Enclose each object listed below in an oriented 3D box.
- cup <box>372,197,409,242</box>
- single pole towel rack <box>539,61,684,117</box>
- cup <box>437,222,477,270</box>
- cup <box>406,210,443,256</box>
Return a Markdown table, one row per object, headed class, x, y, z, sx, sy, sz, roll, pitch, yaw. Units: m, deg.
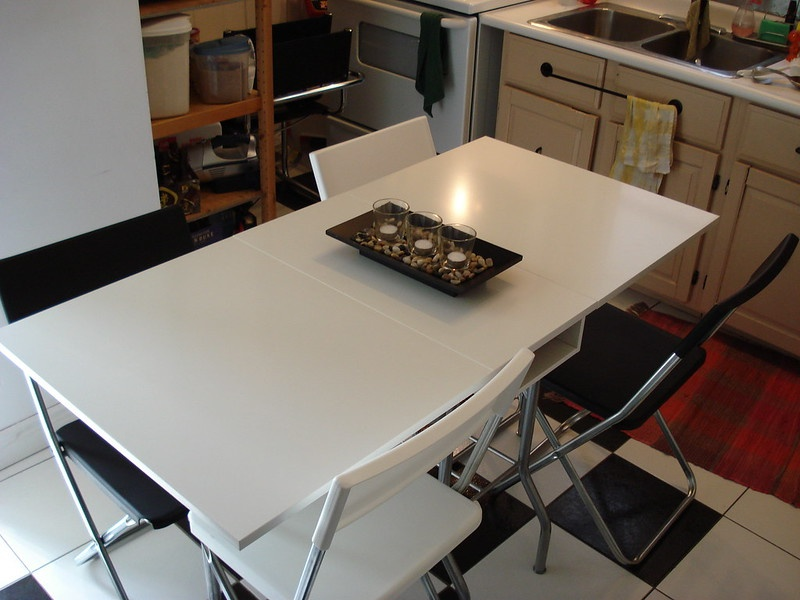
| class | x | y | z | sx | sy | sz | roll | pitch | yaw |
| --- | --- | --- | --- | --- | --- | --- | --- | --- | --- |
| cup | -0.024 | -0.228 | 1.725 | 0.094 | 0.093 | 0.115 | 1 | 44 | -1 |
| single pole towel rack | 0.870 | -1.059 | 2.933 | 0.196 | 0.204 | 1.161 | 1 | 20 | -29 |
| cup | 0.145 | -0.140 | 1.634 | 0.095 | 0.097 | 0.115 | -4 | 44 | -5 |
| cup | 0.062 | -0.182 | 1.696 | 0.097 | 0.099 | 0.119 | -3 | 47 | -4 |
